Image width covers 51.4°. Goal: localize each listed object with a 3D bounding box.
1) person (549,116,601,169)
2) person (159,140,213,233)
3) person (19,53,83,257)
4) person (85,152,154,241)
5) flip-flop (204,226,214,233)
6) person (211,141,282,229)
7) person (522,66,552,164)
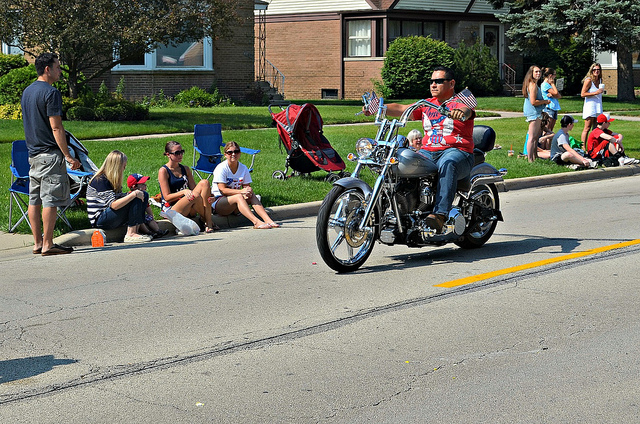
[{"bbox_3d":[6.265,-1.723,16.113,0.895,1.200,1.260,-8,18,-43],"label":"person"},{"bbox_3d":[-2.210,-0.457,10.814,0.830,1.328,1.180,-7,14,-25],"label":"person"},{"bbox_3d":[-3.721,-0.800,9.089,0.691,2.690,0.748,-8,15,-29],"label":"person"},{"bbox_3d":[-3.008,-0.242,10.053,1.091,1.304,0.679,-1,5,-6],"label":"person"},{"bbox_3d":[-1.758,0.257,10.557,0.137,0.084,0.109,-2,13,-8],"label":"flip-flop"},{"bbox_3d":[-1.236,-0.440,10.882,1.442,1.341,0.714,13,17,42],"label":"person"},{"bbox_3d":[5.311,-2.429,16.337,0.812,2.369,0.721,-3,12,6],"label":"person"}]
